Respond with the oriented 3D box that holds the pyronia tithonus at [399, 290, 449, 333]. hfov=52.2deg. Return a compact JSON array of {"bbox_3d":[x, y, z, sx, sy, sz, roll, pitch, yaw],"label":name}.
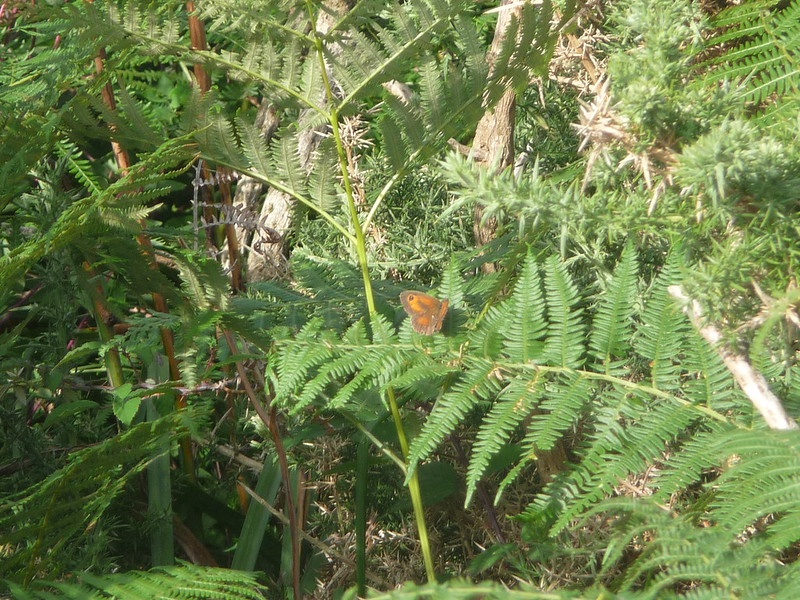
[{"bbox_3d":[0.041,0.023,1.445,0.072,0.075,0.036,9,3,44],"label":"pyronia tithonus"}]
